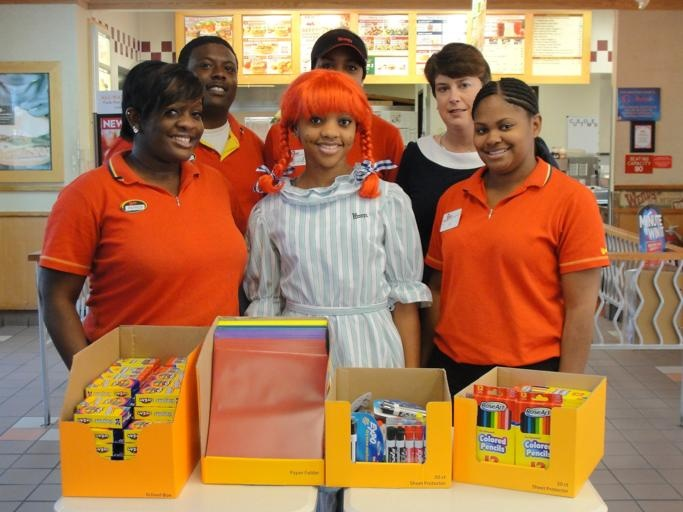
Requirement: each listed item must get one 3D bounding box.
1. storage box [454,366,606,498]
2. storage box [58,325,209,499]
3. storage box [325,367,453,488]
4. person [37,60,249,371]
[{"bbox_3d":[0.469,0.470,1.525,0.351,0.209,0.356,2,8,27],"label":"storage box"},{"bbox_3d":[-0.491,0.404,1.727,0.404,0.319,0.535,0,6,3],"label":"storage box"},{"bbox_3d":[0.138,0.470,1.655,0.372,0.195,0.360,-3,7,11],"label":"storage box"},{"bbox_3d":[-0.654,-0.154,1.947,0.651,0.931,0.307,-6,14,-25],"label":"person"}]
